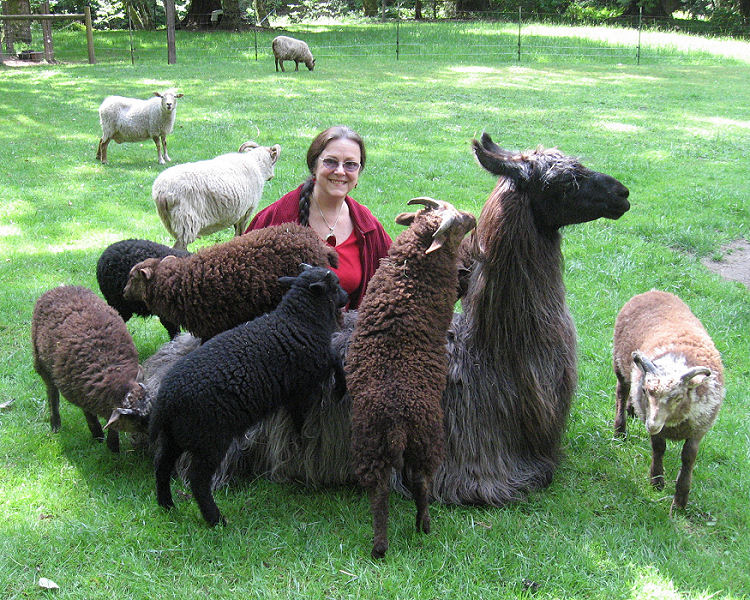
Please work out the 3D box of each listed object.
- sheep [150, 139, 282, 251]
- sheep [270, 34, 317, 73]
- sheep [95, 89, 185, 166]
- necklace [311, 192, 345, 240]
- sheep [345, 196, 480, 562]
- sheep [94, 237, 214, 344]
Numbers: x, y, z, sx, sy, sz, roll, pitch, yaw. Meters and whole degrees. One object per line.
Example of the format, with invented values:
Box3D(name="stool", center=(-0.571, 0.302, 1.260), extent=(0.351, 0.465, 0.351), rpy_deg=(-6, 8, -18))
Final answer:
Box3D(name="sheep", center=(-1.933, -1.257, 10.267), extent=(0.711, 1.392, 2.043), rpy_deg=(12, 22, 33))
Box3D(name="sheep", center=(-3.032, -9.055, 29.281), extent=(1.688, 1.204, 1.430), rpy_deg=(-6, 17, -24))
Box3D(name="sheep", center=(-4.417, -3.308, 15.128), extent=(1.607, 1.343, 0.722), rpy_deg=(3, 14, 4))
Box3D(name="necklace", center=(-0.454, -0.794, 7.356), extent=(0.293, 0.460, 0.126), rpy_deg=(2, -12, -4))
Box3D(name="sheep", center=(0.587, 0.341, 5.976), extent=(0.685, 2.987, 1.631), rpy_deg=(-1, -25, 22))
Box3D(name="sheep", center=(-2.079, -0.192, 7.420), extent=(1.186, 0.991, 0.577), rpy_deg=(-3, 16, 6))
